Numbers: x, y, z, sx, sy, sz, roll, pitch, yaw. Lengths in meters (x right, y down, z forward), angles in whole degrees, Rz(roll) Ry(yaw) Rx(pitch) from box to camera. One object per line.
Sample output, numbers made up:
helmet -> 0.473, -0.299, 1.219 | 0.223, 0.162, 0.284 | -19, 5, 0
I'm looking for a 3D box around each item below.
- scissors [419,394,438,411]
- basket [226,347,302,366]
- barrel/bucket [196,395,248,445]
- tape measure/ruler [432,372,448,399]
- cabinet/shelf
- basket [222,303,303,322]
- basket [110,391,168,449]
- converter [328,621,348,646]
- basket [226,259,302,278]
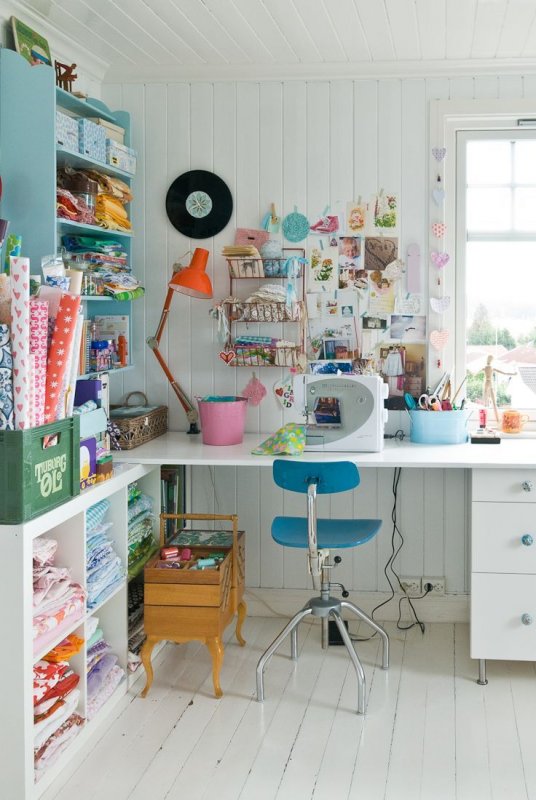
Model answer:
scissors -> 0.630, 0.014, 2.544 | 0.073, 0.062, 0.033 | 0, 0, 24
basket -> -0.025, -0.176, 2.652 | 0.330, 0.082, 0.087 | 0, 0, 7
barrel/bucket -> -0.189, 0.082, 2.497 | 0.185, 0.143, 0.167 | 0, 0, 40
tape measure/ruler -> 0.674, -0.053, 2.571 | 0.047, 0.092, 0.086 | 0, 0, 41
cabinet/shelf -> 0.070, 0.005, 2.244 | 2.258, 2.288, 0.725 | -1, 1, -1
basket -> -0.011, -0.355, 2.604 | 0.293, 0.085, 0.084 | 0, 0, 7
basket -> -0.520, 0.095, 2.539 | 0.163, 0.127, 0.272 | 0, 2, 3
converter -> 0.270, 0.927, 2.561 | 0.060, 0.086, 0.143 | 0, 0, 5
basket -> -0.006, -0.543, 2.627 | 0.301, 0.093, 0.148 | 0, 0, 1
